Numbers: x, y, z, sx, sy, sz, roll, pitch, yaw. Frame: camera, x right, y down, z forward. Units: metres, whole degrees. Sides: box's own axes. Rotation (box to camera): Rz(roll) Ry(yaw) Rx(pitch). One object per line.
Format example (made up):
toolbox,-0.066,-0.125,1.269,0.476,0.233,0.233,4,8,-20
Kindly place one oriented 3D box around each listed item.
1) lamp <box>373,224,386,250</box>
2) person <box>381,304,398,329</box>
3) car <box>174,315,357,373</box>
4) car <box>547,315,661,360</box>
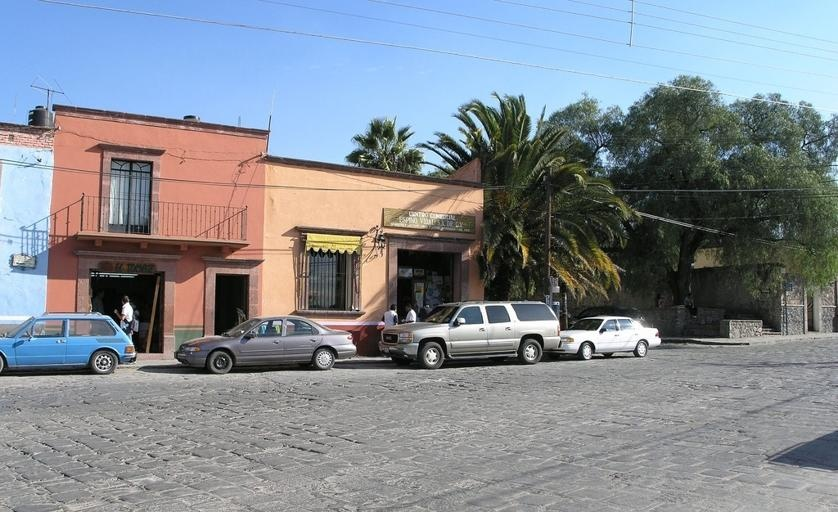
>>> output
lamp,-1.698,-0.779,34.602,0.352,1.075,0.604,11,16,42
person,-1.201,2.548,33.502,0.446,1.134,0.810,-10,20,-43
car,-5.481,3.337,29.102,6.328,1.773,2.278,4,-9,-19
car,7.716,3.509,33.728,4.428,1.324,1.929,5,-9,-30
